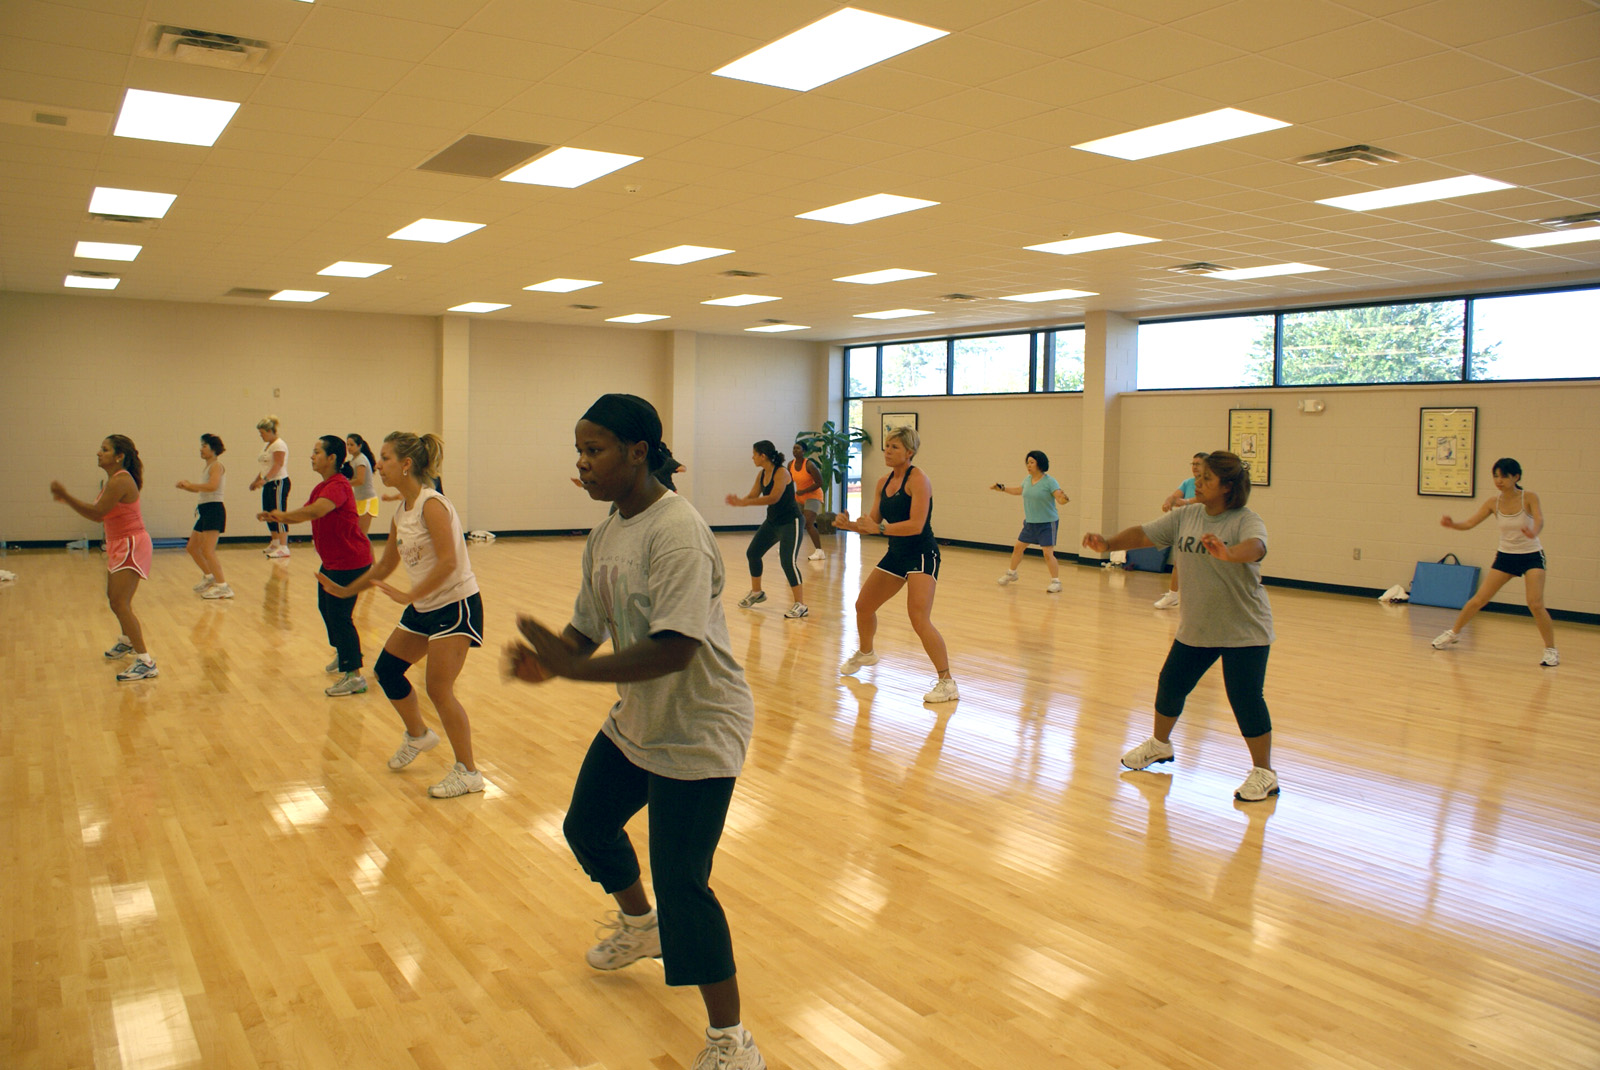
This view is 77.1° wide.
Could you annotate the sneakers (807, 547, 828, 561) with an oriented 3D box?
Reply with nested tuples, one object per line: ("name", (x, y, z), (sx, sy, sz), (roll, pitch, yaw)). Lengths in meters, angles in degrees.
("sneakers", (0.303, 0.310, 15.516), (0.114, 0.148, 0.343), (0, 0, 23))

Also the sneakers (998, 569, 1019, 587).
("sneakers", (2.769, 0.557, 13.176), (0.405, 0.175, 0.131), (4, -1, -42))

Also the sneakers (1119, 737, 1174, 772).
("sneakers", (2.160, 1.350, 6.230), (0.361, 0.174, 0.162), (-1, 8, -10))

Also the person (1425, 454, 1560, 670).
("person", (6.733, 0.180, 9.655), (1.005, 1.848, 1.472), (5, 6, 32))

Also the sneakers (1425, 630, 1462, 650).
("sneakers", (6.242, 1.001, 9.721), (0.402, 0.169, 0.171), (-1, 4, -16))

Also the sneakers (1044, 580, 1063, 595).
("sneakers", (3.190, 0.634, 12.595), (0.120, 0.209, 0.347), (0, -3, 30))

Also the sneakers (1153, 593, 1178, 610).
("sneakers", (4.177, 0.757, 11.487), (0.397, 0.176, 0.147), (-3, 5, -35))

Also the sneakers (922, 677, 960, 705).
("sneakers", (1.069, 1.181, 7.550), (0.117, 0.147, 0.335), (-3, -4, 31))

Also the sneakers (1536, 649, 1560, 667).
("sneakers", (6.770, 1.112, 9.091), (0.109, 0.127, 0.328), (-2, -2, 37))

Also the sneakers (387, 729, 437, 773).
("sneakers", (-2.303, 1.291, 6.105), (0.127, 0.151, 0.350), (-2, 19, 31))

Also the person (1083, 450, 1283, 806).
("person", (2.401, 0.504, 5.960), (0.938, 2.006, 0.941), (4, 6, 25))

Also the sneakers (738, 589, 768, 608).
("sneakers", (-0.493, 0.701, 11.287), (0.118, 0.149, 0.328), (4, 2, 34))

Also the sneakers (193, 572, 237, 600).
("sneakers", (-6.636, 0.583, 11.476), (0.635, 0.266, 0.212), (5, 10, 11))

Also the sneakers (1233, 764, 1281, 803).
("sneakers", (2.697, 1.467, 5.907), (0.315, 0.147, 0.143), (1, -3, -40))

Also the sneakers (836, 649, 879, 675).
("sneakers", (0.504, 1.049, 8.291), (0.335, 0.153, 0.123), (-15, 0, 20))

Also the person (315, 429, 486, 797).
("person", (-2.120, 0.438, 5.683), (0.606, 2.022, 0.791), (-3, 7, -39))

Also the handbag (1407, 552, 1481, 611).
("handbag", (7.628, 0.550, 11.866), (0.211, 0.519, 0.584), (5, 8, -30))
